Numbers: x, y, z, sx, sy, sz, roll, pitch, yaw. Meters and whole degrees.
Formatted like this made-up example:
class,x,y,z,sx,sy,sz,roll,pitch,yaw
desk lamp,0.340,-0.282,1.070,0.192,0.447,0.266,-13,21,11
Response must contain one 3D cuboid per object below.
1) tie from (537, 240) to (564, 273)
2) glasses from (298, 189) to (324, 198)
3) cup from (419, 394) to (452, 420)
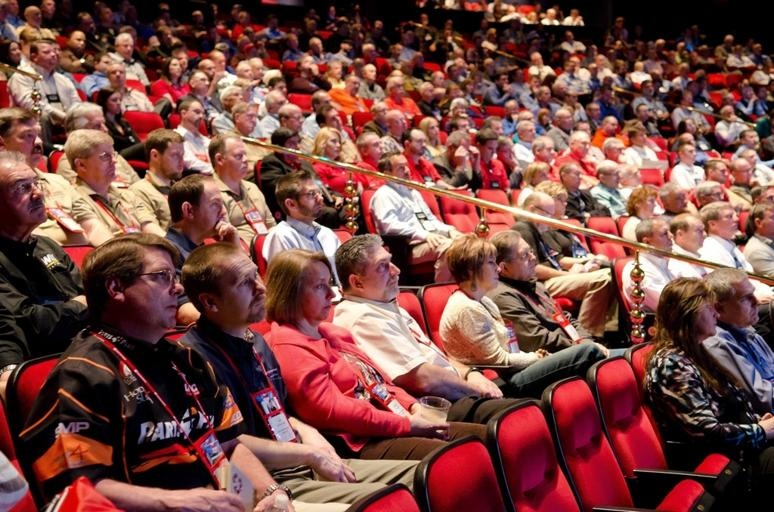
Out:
class,x,y,z,sx,sy,sz,roll,pitch,yaw
tie,1.466,0.016,6.216,0.115,0.156,0.436,18,15,-9
glasses,-0.557,-0.466,5.218,0.065,0.054,0.191,17,12,33
cup,0.248,0.783,3.594,0.120,0.098,0.132,1,-7,0
